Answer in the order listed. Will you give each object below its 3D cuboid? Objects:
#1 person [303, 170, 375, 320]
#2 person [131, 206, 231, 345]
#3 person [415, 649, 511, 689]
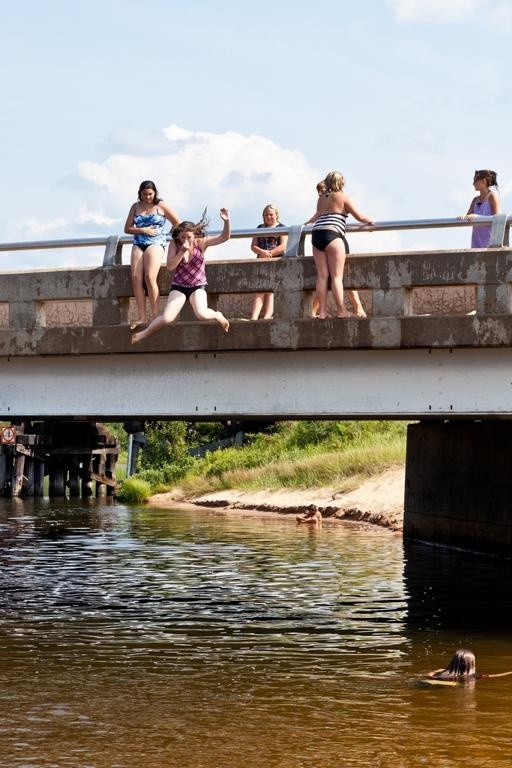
[{"bbox_3d":[0.831,-1.444,15.644,0.610,1.592,1.399,-1,-3,2],"label":"person"},{"bbox_3d":[-0.752,-1.125,15.681,0.942,1.291,0.603,0,-2,-5],"label":"person"},{"bbox_3d":[1.816,2.466,13.311,0.876,0.268,0.580,0,-3,-9],"label":"person"}]
